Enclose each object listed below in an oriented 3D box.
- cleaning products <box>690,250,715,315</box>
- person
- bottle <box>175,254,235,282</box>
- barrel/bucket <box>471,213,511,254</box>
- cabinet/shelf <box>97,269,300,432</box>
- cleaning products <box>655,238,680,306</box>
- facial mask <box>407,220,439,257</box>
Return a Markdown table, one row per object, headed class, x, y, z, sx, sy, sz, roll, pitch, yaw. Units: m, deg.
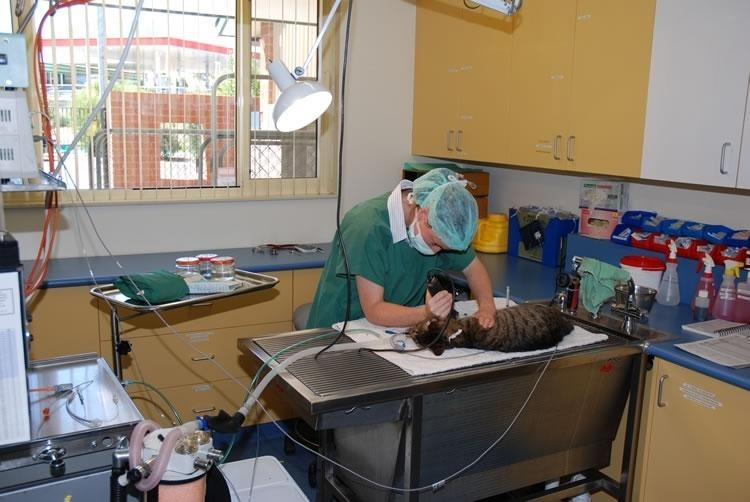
| class | x | y | z | sx | sy | sz | roll | pitch | yaw |
| --- | --- | --- | --- | --- | --- | --- | --- | --- | --- |
| cleaning products | 1.685 | 0.180 | 2.816 | 0.090 | 0.301 | 0.242 | 10 | 16 | 32 |
| person | 0.110 | 0.036 | 2.503 | 0.870 | 0.807 | 0.602 | 3 | 14 | 7 |
| bottle | -0.835 | 0.079 | 2.756 | 0.222 | 0.090 | 0.140 | 0 | 7 | -8 |
| barrel/bucket | 0.848 | -0.128 | 4.008 | 0.279 | 0.264 | 0.224 | -7 | 19 | -29 |
| cabinet/shelf | -0.939 | 0.492 | 2.838 | 0.794 | 0.850 | 0.518 | -7 | 14 | -30 |
| cleaning products | 1.574 | 0.126 | 2.947 | 0.114 | 0.336 | 0.070 | 0 | 14 | -5 |
| facial mask | 0.205 | -0.055 | 2.419 | 0.116 | 0.171 | 0.129 | -1 | 14 | -7 |
